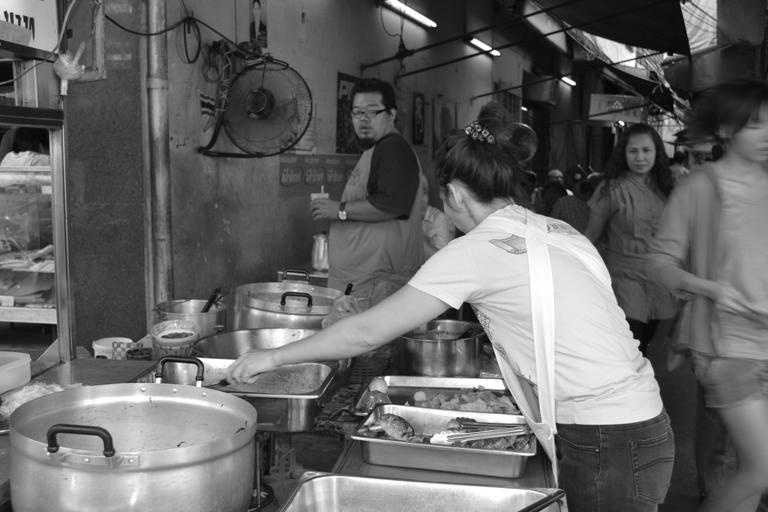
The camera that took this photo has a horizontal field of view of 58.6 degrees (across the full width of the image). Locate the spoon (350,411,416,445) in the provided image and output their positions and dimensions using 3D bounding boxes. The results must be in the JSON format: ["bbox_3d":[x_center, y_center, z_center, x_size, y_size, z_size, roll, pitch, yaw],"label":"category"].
[{"bbox_3d":[0.018,0.614,2.461,0.121,0.041,0.102,-9,21,-34],"label":"spoon"}]

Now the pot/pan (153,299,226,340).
[{"bbox_3d":[-0.938,0.298,3.339,0.237,0.196,0.210,1,-3,-6],"label":"pot/pan"}]

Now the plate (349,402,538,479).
[{"bbox_3d":[0.204,0.668,2.400,0.469,0.073,0.279,1,7,10],"label":"plate"}]

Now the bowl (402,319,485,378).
[{"bbox_3d":[0.260,0.429,3.174,0.276,0.160,0.268,1,-4,0],"label":"bowl"}]

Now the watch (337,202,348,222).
[{"bbox_3d":[-0.239,-0.251,3.941,0.069,0.092,0.102,3,6,7],"label":"watch"}]

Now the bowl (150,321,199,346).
[{"bbox_3d":[-0.908,0.339,2.986,0.191,0.077,0.236,-1,4,-34],"label":"bowl"}]

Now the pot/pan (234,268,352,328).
[{"bbox_3d":[-0.512,0.245,3.514,0.400,0.421,0.389,3,2,9],"label":"pot/pan"}]
